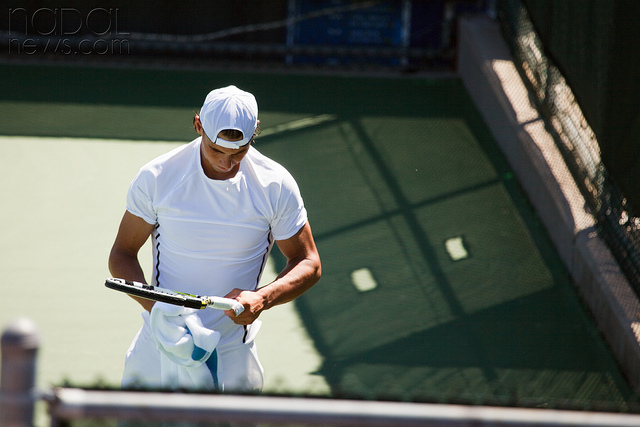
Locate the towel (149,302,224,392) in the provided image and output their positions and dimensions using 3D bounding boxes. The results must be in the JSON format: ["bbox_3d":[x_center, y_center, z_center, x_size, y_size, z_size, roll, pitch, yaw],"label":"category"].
[{"bbox_3d":[-0.949,0.953,7.562,0.463,0.650,0.295,-8,-14,-7],"label":"towel"}]

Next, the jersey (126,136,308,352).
[{"bbox_3d":[-0.763,0.297,7.782,1.532,1.698,0.736,15,-2,-8],"label":"jersey"}]

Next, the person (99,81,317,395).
[{"bbox_3d":[-0.907,0.303,7.639,1.495,2.201,0.968,-14,-14,20],"label":"person"}]
